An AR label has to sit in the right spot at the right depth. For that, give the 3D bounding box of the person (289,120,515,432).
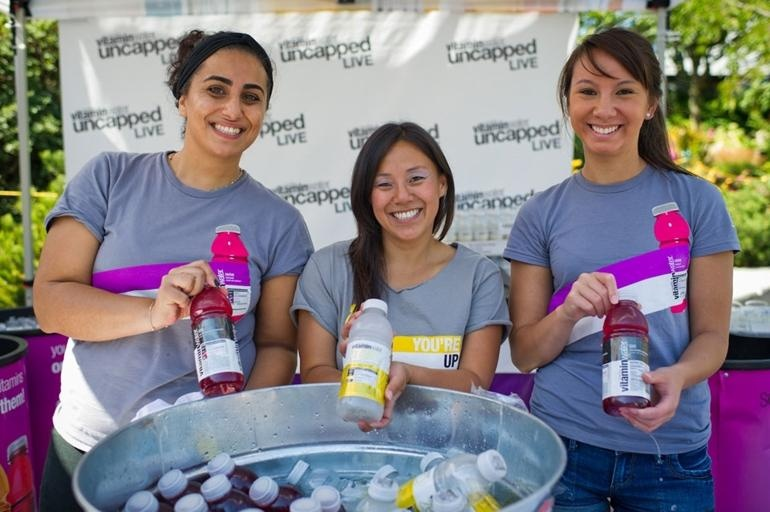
[{"bbox_3d":[0.052,0.223,3.438,1.126,1.705,1.022,1,1,3],"label":"person"}]

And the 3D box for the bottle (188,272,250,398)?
[{"bbox_3d":[-0.699,0.342,2.928,0.167,0.410,0.252,-7,12,-17],"label":"bottle"}]

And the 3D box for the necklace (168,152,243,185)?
[{"bbox_3d":[-0.849,-0.410,3.363,0.200,0.100,0.232,1,-13,-13],"label":"necklace"}]
